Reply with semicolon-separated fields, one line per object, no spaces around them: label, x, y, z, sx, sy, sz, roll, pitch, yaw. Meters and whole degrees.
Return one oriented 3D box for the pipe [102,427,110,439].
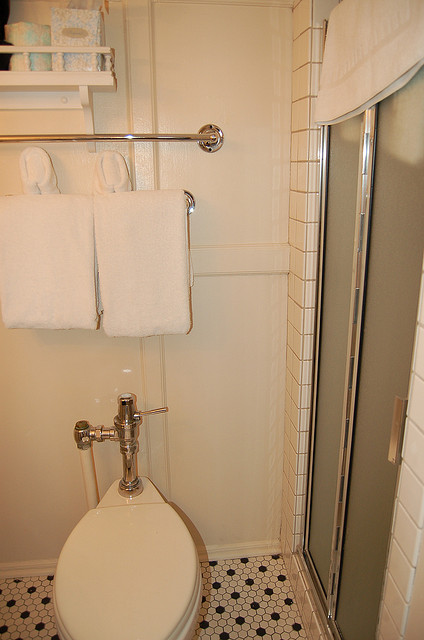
pipe;-0.277;0.293;1.226;0.019;0.022;0.021;-4;21;-8

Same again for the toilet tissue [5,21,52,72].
toilet tissue;-0.387;-0.571;0.982;0.083;0.099;0.051;-4;16;-14

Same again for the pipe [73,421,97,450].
pipe;-0.330;0.296;1.209;0.049;0.068;0.070;2;7;-3

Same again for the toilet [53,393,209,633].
toilet;-0.199;0.411;1.061;0.302;0.359;0.517;-6;16;-9

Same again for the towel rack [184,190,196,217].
towel rack;-0.052;-0.288;1.180;0.017;0.069;0.060;0;6;-25

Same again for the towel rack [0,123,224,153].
towel rack;-0.218;-0.423;1.115;0.524;0.070;0.127;-8;17;-14
